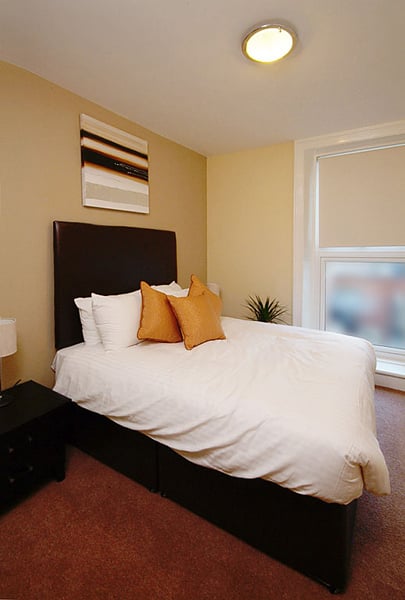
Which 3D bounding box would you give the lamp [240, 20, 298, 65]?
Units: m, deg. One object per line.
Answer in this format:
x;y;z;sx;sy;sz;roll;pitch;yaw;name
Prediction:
0.335;-1.302;2.127;0.270;0.108;0.235;3;15;11;lamp

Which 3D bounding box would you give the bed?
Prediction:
0.103;0.262;2.536;1.716;1.510;1.243;4;9;33;bed
